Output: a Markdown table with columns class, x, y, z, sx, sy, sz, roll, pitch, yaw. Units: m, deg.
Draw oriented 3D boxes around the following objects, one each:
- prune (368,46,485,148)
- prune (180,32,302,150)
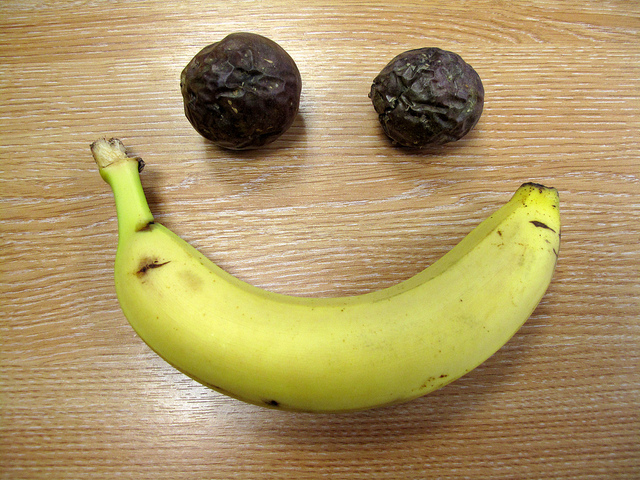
| class | x | y | z | sx | sy | sz | roll | pitch | yaw |
| --- | --- | --- | --- | --- | --- | --- | --- | --- | --- |
| prune | 0.263 | -0.353 | 1.637 | 0.251 | 0.197 | 0.209 | -21 | 51 | -13 |
| prune | -0.190 | -0.360 | 1.615 | 0.279 | 0.234 | 0.206 | -13 | 50 | -6 |
